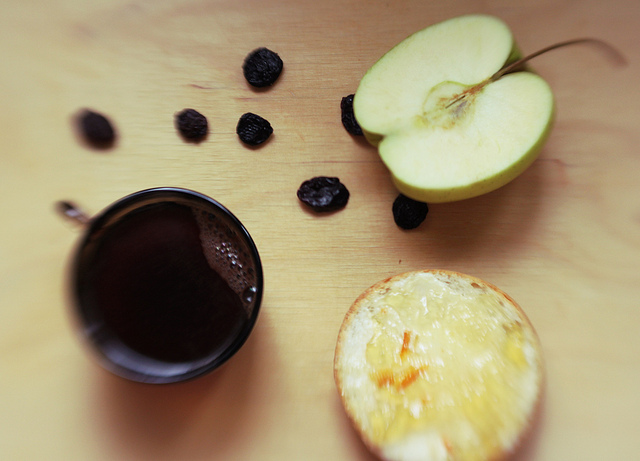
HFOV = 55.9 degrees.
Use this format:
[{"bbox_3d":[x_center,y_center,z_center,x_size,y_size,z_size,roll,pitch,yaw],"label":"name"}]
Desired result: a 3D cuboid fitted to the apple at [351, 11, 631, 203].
[{"bbox_3d":[0.270,-0.201,1.009,0.361,0.258,0.141,-28,-10,6],"label":"apple"}]
